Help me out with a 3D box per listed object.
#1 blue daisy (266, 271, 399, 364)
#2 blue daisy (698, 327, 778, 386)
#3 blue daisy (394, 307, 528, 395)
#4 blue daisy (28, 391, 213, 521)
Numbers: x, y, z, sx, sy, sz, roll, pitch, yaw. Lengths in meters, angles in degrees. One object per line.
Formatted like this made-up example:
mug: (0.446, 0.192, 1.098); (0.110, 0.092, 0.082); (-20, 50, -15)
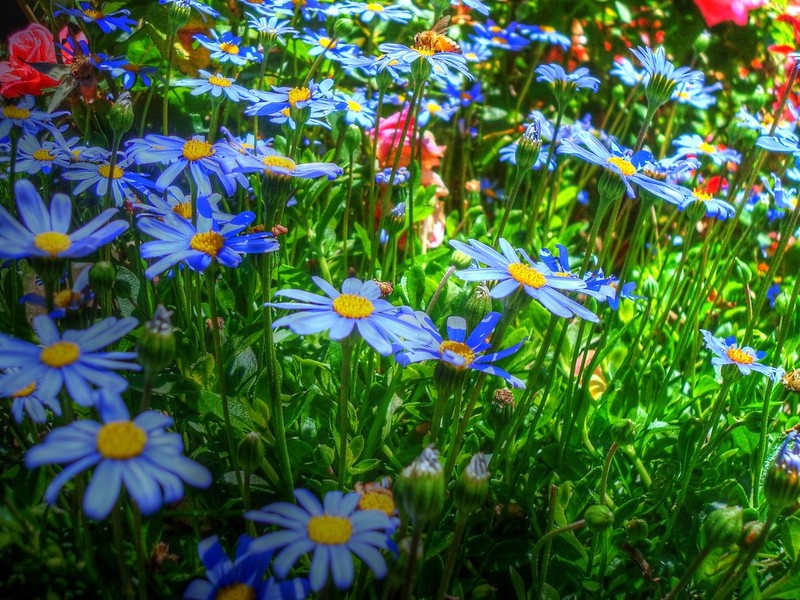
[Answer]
blue daisy: (-0.065, 0.023, 1.072); (0.178, 0.074, 0.177); (7, -8, 27)
blue daisy: (0.526, 0.097, 1.240); (0.134, 0.043, 0.114); (0, 14, -21)
blue daisy: (0.076, 0.066, 1.076); (0.201, 0.090, 0.211); (8, 10, 13)
blue daisy: (-0.327, 0.186, 0.919); (0.156, 0.051, 0.175); (13, 45, -17)
